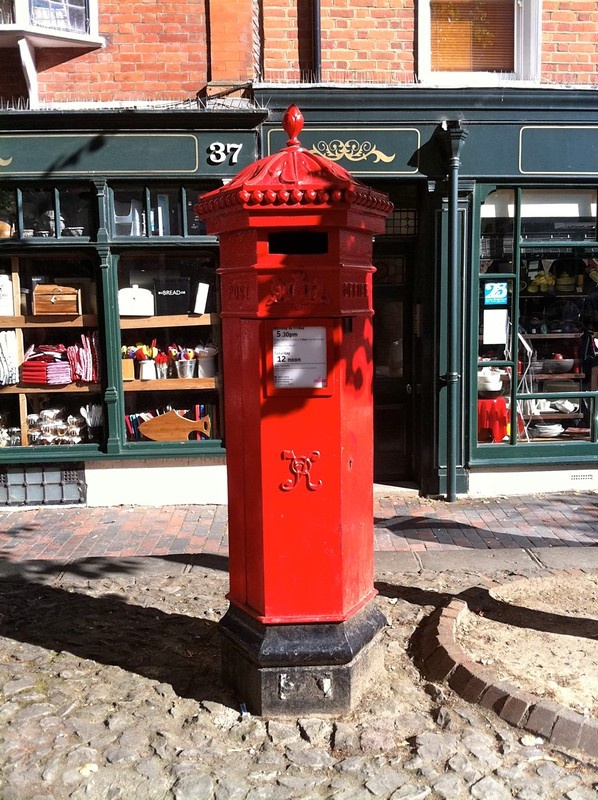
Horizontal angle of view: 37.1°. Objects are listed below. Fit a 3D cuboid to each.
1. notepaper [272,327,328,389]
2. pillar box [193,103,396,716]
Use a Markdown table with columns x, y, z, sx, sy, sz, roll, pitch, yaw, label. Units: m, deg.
| x | y | z | sx | sy | sz | roll | pitch | yaw | label |
| --- | --- | --- | --- | --- | --- | --- | --- | --- | --- |
| -0.001 | -0.207 | 3.994 | 0.237 | 0.300 | 0.037 | 0 | 3 | 0 | notepaper |
| 0.009 | 0.033 | 4.193 | 0.872 | 2.828 | 0.578 | -2 | 6 | -7 | pillar box |
